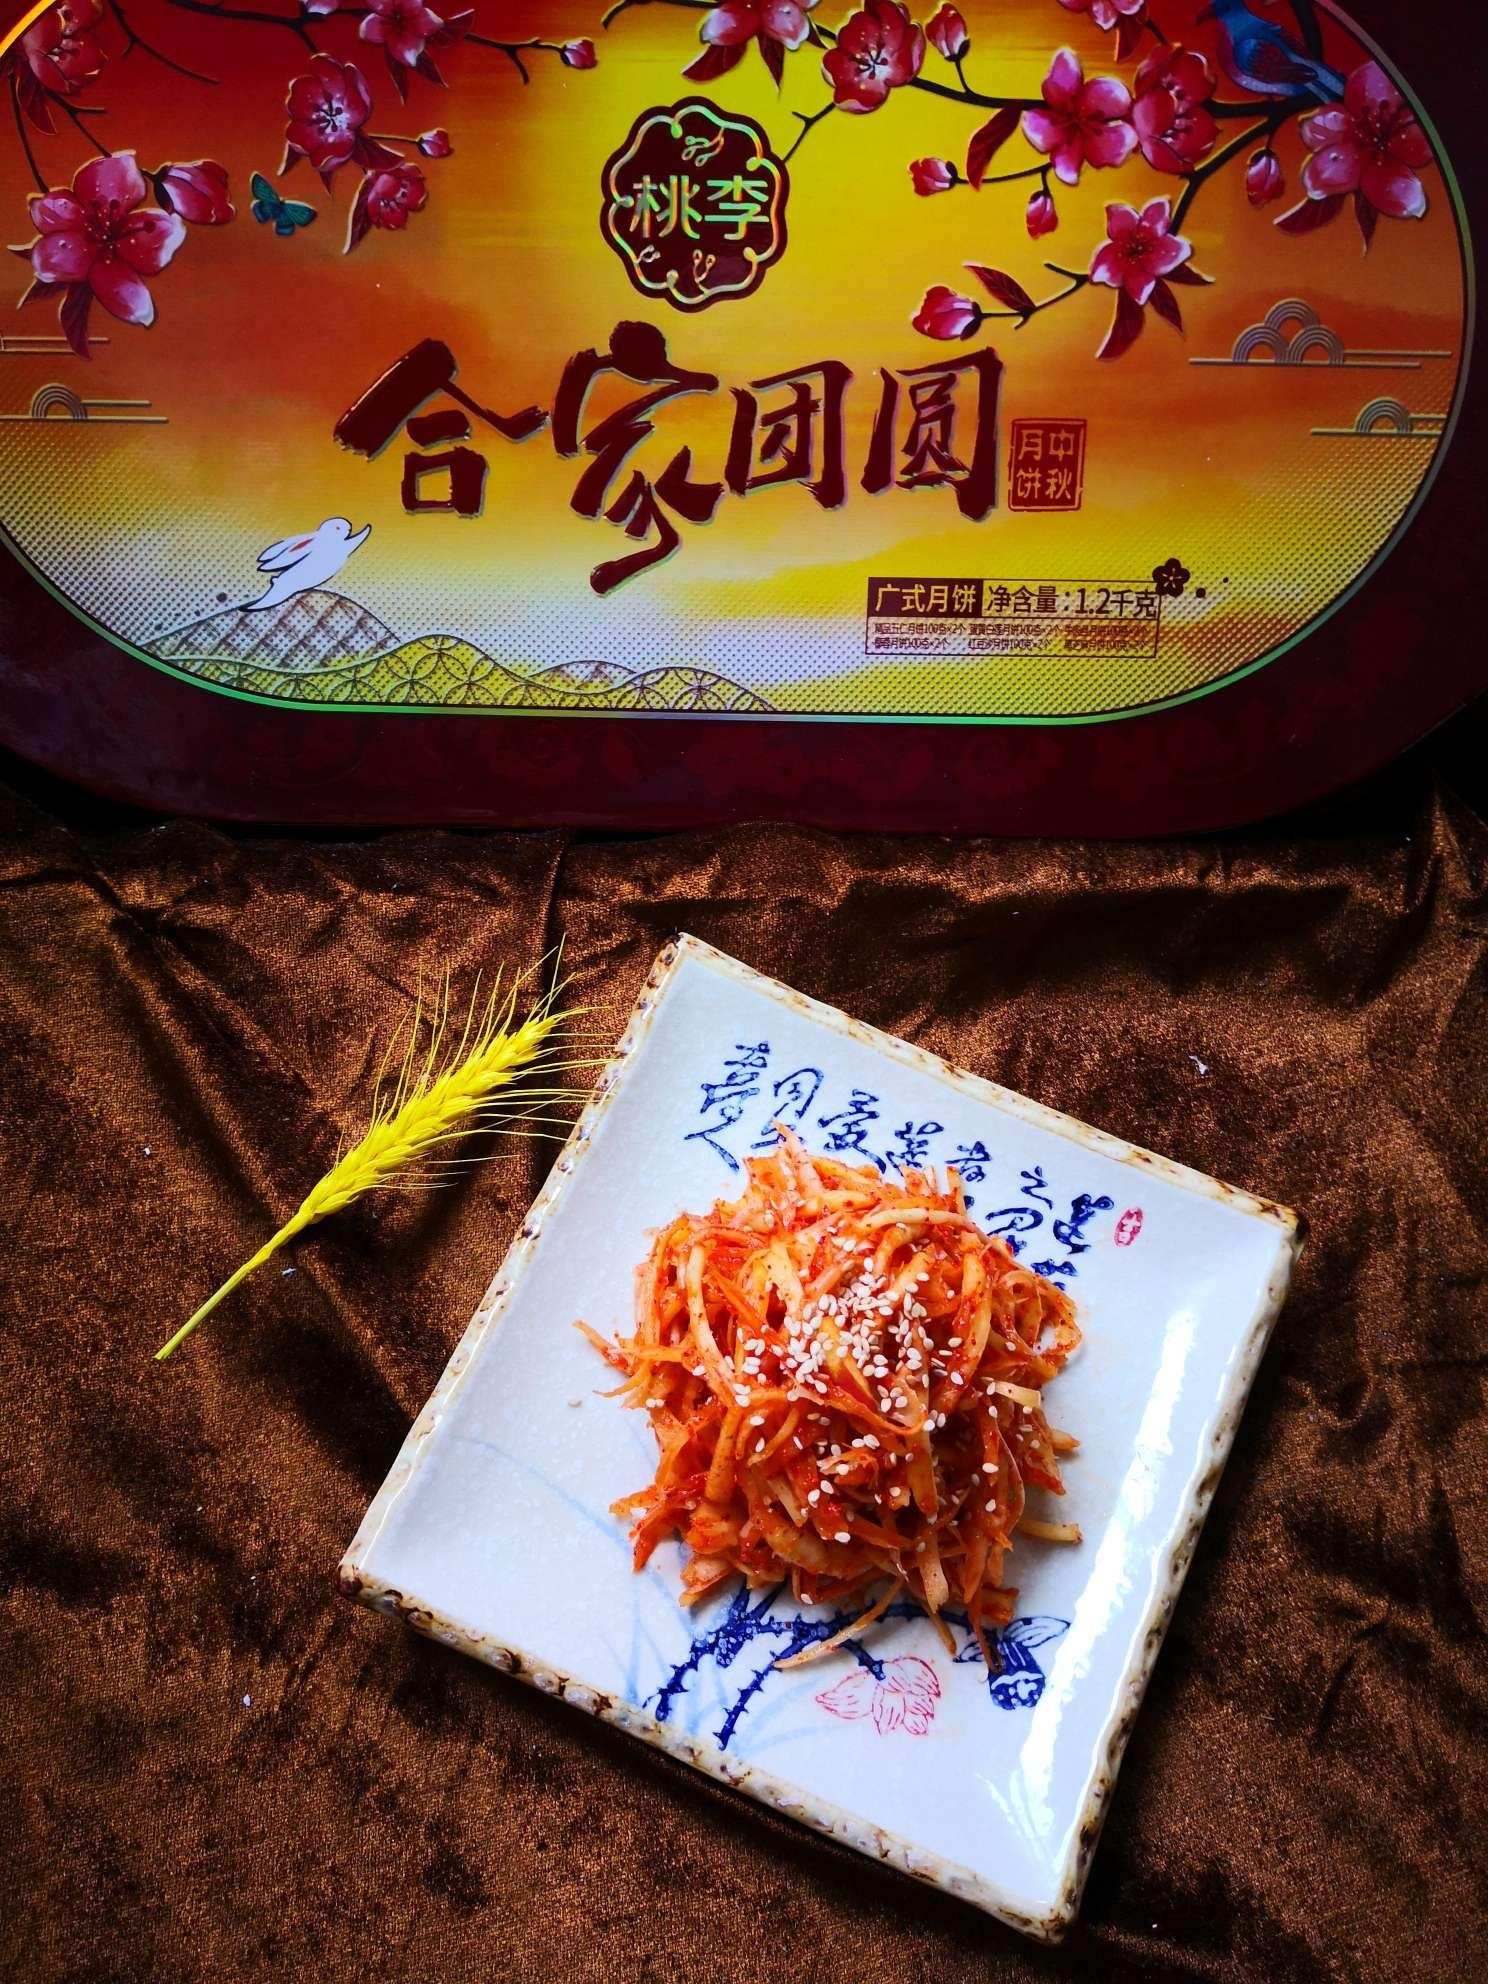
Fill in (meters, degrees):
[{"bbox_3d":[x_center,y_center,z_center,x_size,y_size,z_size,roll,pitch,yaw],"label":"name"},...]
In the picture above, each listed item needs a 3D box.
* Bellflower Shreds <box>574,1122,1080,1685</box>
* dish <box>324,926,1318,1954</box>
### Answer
[{"bbox_3d":[0.059,0.283,1.202,0.321,0.130,0.329,-37,80,-13],"label":"Bellflower Shreds"},{"bbox_3d":[0.123,0.298,1.223,0.627,0.108,0.610,24,71,9],"label":"dish"}]
